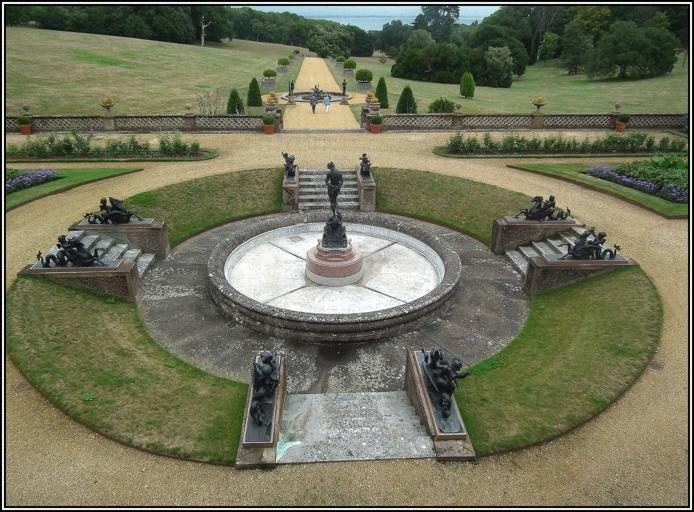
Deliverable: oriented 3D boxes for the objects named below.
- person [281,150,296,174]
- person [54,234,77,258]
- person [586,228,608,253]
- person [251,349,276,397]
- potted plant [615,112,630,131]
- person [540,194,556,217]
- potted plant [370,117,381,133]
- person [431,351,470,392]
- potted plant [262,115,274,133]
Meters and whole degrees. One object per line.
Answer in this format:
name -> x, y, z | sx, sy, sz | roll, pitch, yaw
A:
person -> -2.916, -4.773, 23.092 | 0.599, 1.135, 1.333 | -4, 25, -6
person -> -9.467, -0.373, 15.332 | 0.782, 0.883, 0.426 | 1, 1, 1
person -> 9.062, -0.523, 16.377 | 0.515, 0.830, 1.079 | 15, 29, 30
person -> -2.137, 3.035, 11.549 | 0.582, 0.962, 0.885 | 7, 17, 5
potted plant -> 21.913, -10.701, 35.840 | 1.294, 1.405, 1.059 | 15, 28, 30
person -> 8.374, -2.070, 18.745 | 0.501, 0.962, 0.554 | 9, 28, 19
potted plant -> 2.240, -10.147, 34.850 | 1.262, 1.304, 1.160 | -1, 22, -3
person -> 2.434, 2.966, 11.494 | 0.959, 0.938, 0.455 | 18, 32, 34
potted plant -> -6.059, -10.145, 34.673 | 1.244, 1.408, 1.142 | -2, 25, -5
